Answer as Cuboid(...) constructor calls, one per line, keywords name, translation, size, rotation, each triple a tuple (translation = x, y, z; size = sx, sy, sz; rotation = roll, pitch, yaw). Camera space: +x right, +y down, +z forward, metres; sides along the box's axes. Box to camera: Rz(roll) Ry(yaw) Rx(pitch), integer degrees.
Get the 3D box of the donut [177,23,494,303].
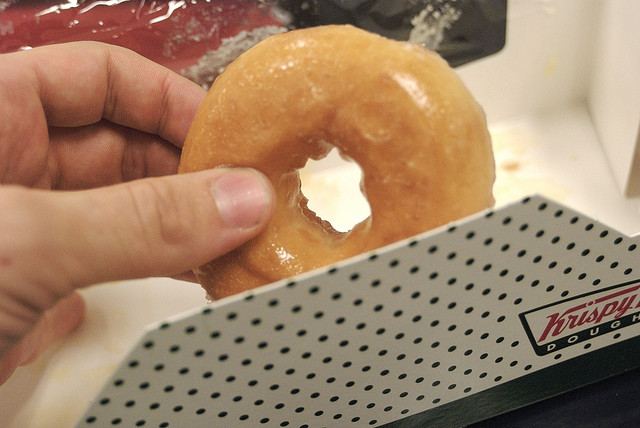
Cuboid(name="donut", translation=(0.021, -0.067, 0.808), size=(0.392, 0.262, 0.210), rotation=(-5, 44, -7))
